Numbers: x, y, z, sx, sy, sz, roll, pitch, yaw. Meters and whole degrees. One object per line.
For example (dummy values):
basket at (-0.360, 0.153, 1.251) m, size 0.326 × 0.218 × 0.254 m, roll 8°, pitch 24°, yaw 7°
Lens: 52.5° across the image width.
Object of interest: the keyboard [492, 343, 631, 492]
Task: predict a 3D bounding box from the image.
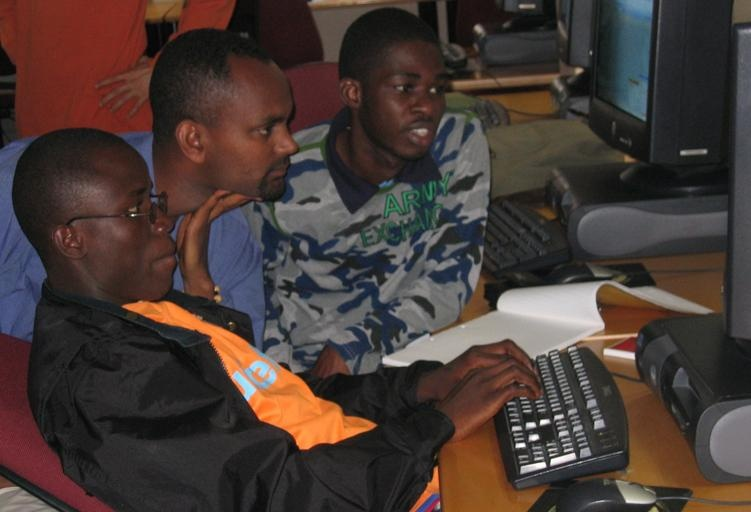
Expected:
keyboard at (0.395, 0.319, 1.618) m, size 0.260 × 0.061 × 0.343 m, roll -10°, pitch 31°, yaw 8°

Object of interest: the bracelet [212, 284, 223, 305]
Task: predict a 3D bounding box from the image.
bracelet at (-0.437, 0.111, 2.124) m, size 0.020 × 0.047 × 0.048 m, roll -10°, pitch 8°, yaw 19°

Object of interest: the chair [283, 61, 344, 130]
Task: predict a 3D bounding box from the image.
chair at (-0.180, -0.524, 2.449) m, size 0.205 × 0.252 × 0.213 m, roll -10°, pitch 18°, yaw 1°

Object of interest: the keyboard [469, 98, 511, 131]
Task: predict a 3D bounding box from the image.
keyboard at (0.428, -0.550, 2.947) m, size 0.165 × 0.077 × 0.217 m, roll -3°, pitch 25°, yaw -16°

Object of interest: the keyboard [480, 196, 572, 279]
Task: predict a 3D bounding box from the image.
keyboard at (0.406, -0.043, 2.105) m, size 0.194 × 0.073 × 0.264 m, roll -11°, pitch 33°, yaw 2°
